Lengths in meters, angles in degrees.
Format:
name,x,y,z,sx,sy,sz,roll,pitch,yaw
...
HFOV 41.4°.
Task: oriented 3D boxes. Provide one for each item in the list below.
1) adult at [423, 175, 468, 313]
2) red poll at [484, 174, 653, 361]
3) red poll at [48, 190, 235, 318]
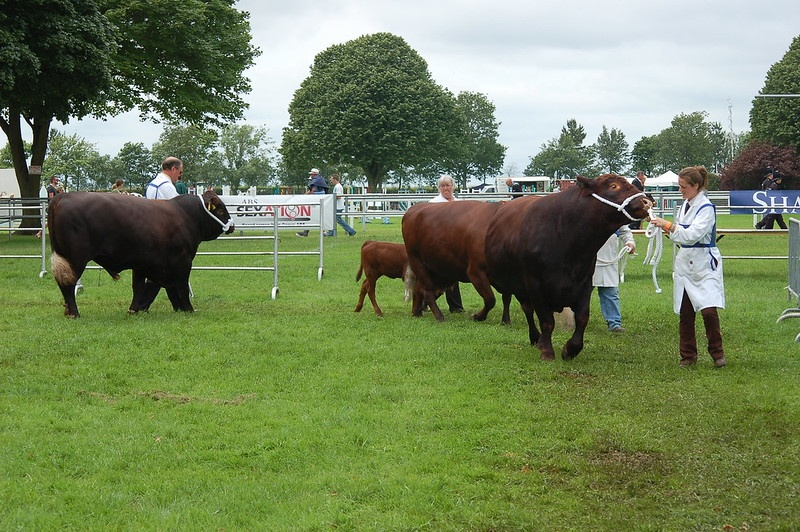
name,x,y,z,sx,sy,sz,roll,pitch,yaw
adult,0.667,-0.565,20.580,0.766,2.881,1.524,4,4,28
red poll,2.488,0.018,17.893,1.782,3.014,4.637,1,3,-19
red poll,-4.701,-0.260,19.549,3.640,2.275,1.204,0,-3,-31
